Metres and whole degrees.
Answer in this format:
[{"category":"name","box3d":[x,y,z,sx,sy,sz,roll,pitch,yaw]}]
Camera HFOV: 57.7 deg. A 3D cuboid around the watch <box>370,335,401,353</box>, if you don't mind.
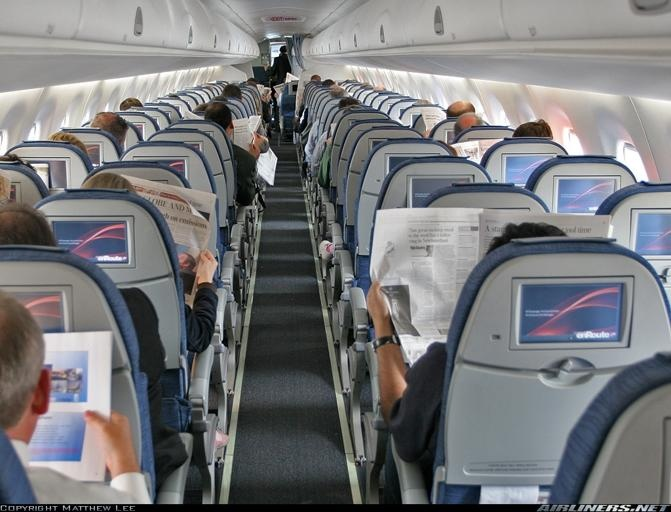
[{"category":"watch","box3d":[0.200,0.337,2.360,0.107,0.061,0.105,10,-17,-38]}]
